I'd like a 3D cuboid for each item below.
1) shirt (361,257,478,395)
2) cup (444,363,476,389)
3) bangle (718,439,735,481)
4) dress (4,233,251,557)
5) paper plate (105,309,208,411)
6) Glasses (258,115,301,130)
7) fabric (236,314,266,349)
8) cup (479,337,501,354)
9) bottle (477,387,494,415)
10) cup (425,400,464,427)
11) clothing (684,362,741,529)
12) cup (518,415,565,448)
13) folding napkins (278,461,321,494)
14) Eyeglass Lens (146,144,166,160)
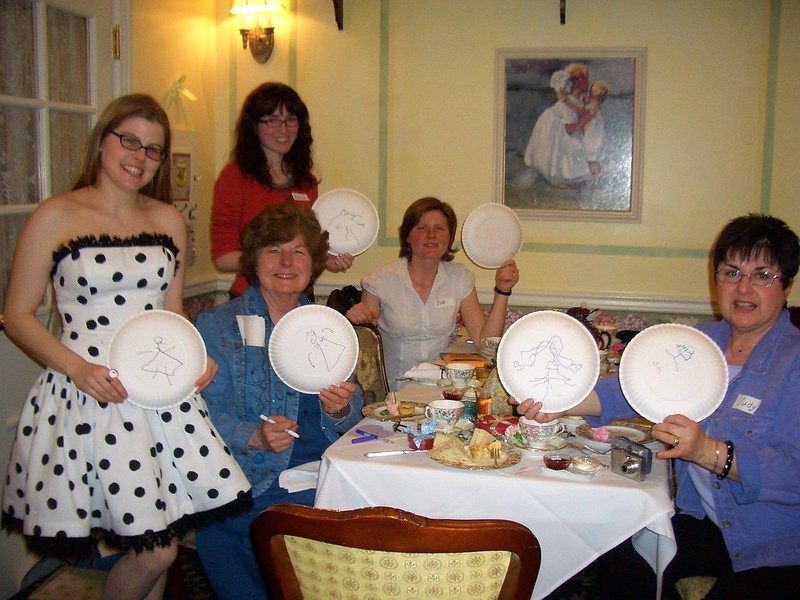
[{"bbox_3d":[0.092,0.145,3.225,0.684,0.708,0.358,-1,3,-20],"label":"shirt"},{"bbox_3d":[0.268,0.317,2.605,0.104,0.073,0.107,-1,4,0],"label":"cup"},{"bbox_3d":[0.999,0.495,1.867,0.040,0.118,0.039,5,9,20],"label":"bangle"},{"bbox_3d":[-0.917,0.293,2.031,0.797,1.019,0.415,0,9,-17],"label":"dress"},{"bbox_3d":[-0.775,0.191,1.951,0.272,0.296,0.077,1,8,-6],"label":"paper plate"},{"bbox_3d":[-0.636,-0.938,3.197,0.207,0.080,0.040,0,8,-15],"label":"Glasses"},{"bbox_3d":[-0.543,0.114,2.247,0.115,0.122,0.099,0,6,-4],"label":"fabric"},{"bbox_3d":[0.452,0.233,3.061,0.099,0.076,0.067,-5,-5,25],"label":"cup"},{"bbox_3d":[0.337,0.406,2.415,0.071,0.124,0.075,3,2,0],"label":"bottle"},{"bbox_3d":[0.170,0.398,2.207,0.103,0.056,0.084,-7,12,-33],"label":"cup"},{"bbox_3d":[1.031,0.500,2.072,0.080,0.443,0.397,0,4,34],"label":"clothing"},{"bbox_3d":[0.474,0.451,2.106,0.117,0.072,0.098,1,-8,-9],"label":"cup"},{"bbox_3d":[-0.364,0.660,2.241,0.152,0.126,0.046,-2,-5,-10],"label":"folding napkins"},{"bbox_3d":[-0.852,-0.518,2.118,0.060,0.063,0.023,-1,15,-36],"label":"Eyeglass Lens"}]
